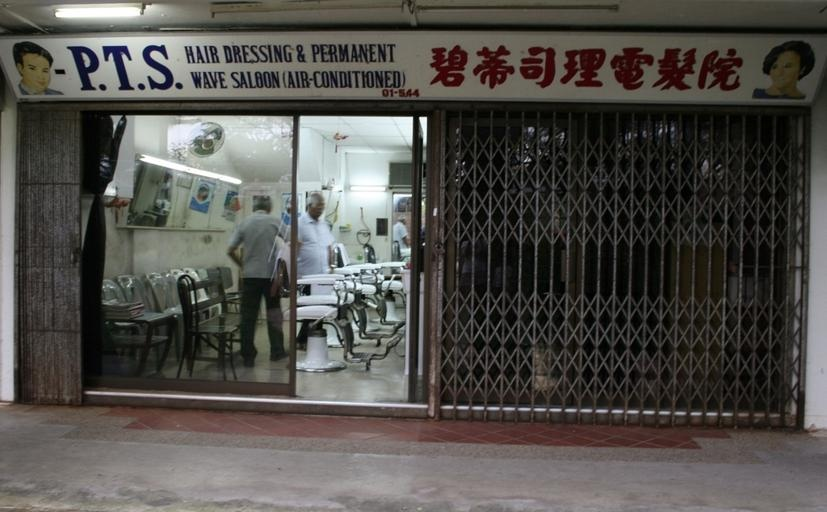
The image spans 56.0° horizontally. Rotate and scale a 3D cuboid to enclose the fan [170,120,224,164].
[{"bbox_3d":[-2.427,-1.284,8.684,0.609,0.351,0.076,1,-1,10],"label":"fan"}]
